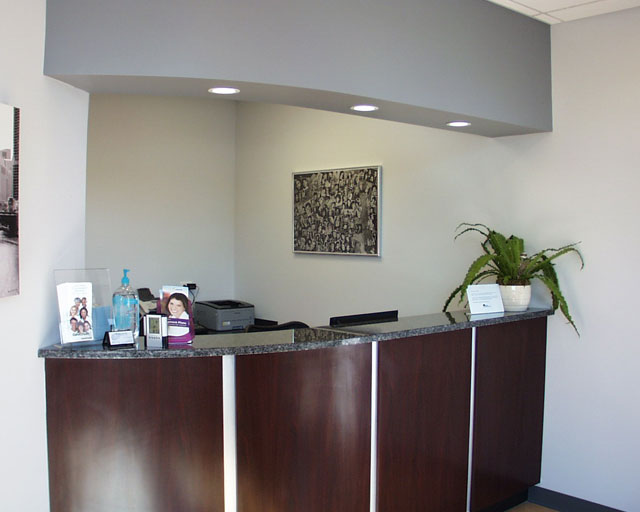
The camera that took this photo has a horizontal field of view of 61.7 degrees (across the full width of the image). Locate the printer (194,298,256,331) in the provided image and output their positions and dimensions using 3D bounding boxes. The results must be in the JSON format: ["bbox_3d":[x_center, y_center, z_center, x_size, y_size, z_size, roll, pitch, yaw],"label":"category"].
[{"bbox_3d":[-0.947,0.573,5.313,0.523,0.251,0.541,1,3,-24],"label":"printer"}]

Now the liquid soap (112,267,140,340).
[{"bbox_3d":[-0.982,0.226,2.702,0.125,0.333,0.270,-1,9,-22],"label":"liquid soap"}]

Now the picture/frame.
[{"bbox_3d":[0.199,-0.431,5.076,0.030,0.701,0.879,-3,2,-44],"label":"picture/frame"}]

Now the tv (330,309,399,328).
[{"bbox_3d":[0.264,0.387,3.275,0.486,0.074,0.034,-2,-9,-36],"label":"tv"}]
